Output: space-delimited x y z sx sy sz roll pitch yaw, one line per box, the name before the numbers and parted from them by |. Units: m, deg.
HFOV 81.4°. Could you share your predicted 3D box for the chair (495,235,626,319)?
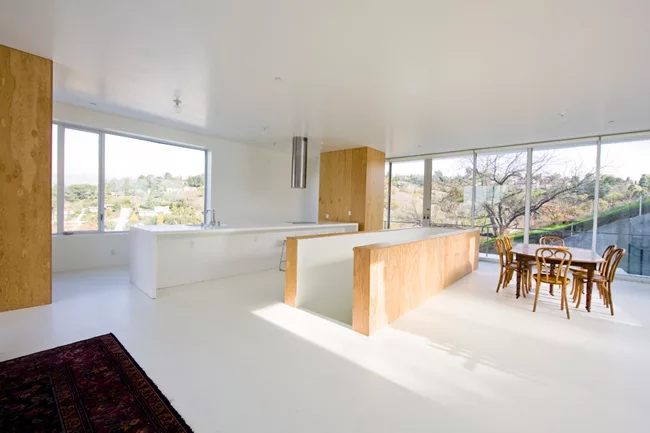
chair | 3.740 0.927 6.220 1.711 1.007 1.385 8 12 36
